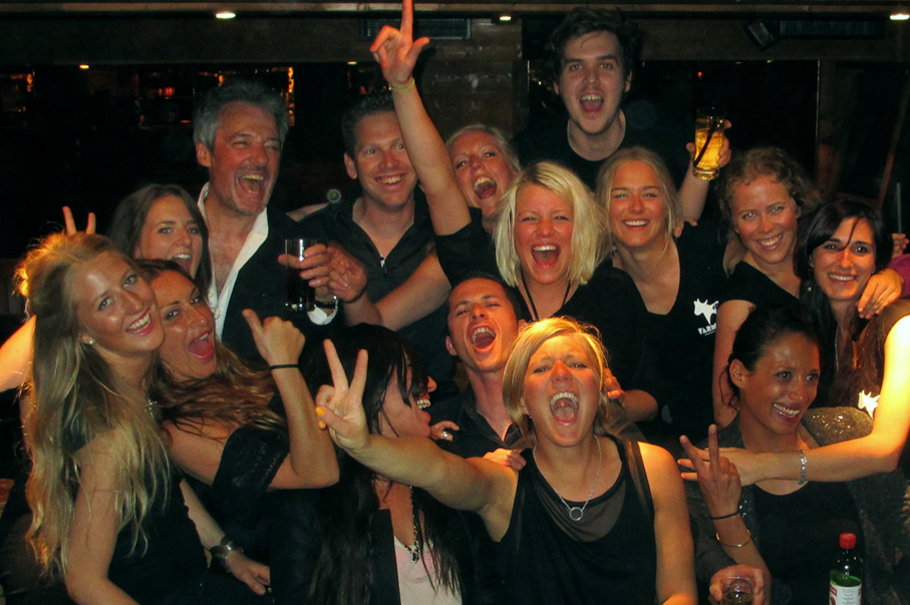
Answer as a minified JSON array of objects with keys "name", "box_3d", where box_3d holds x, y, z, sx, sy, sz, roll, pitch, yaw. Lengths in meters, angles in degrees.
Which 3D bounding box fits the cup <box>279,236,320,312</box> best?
[{"name":"cup","box_3d":[-1.005,-0.174,6.036,0.187,0.468,0.288,-4,9,-10]}]
